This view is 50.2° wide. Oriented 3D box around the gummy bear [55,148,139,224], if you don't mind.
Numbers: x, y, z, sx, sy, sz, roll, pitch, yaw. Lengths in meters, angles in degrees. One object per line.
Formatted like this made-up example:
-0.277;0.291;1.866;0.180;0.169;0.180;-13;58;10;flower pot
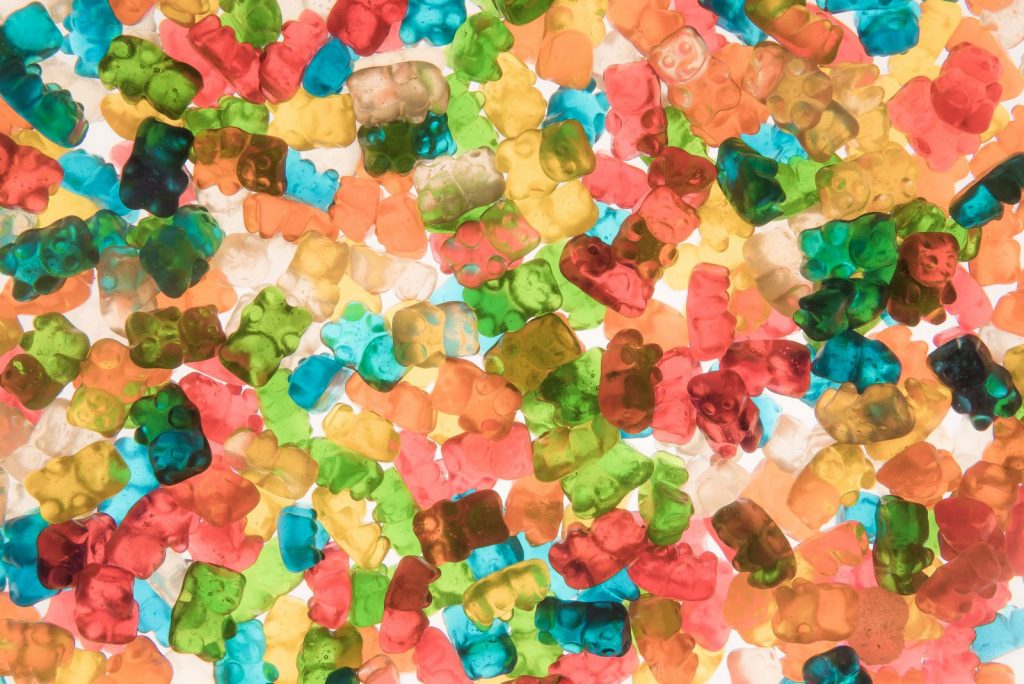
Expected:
-1.087;-0.409;2.859;0.191;0.070;0.130;27;70;-21;gummy bear

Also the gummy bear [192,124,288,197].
-0.691;-0.445;2.706;0.194;0.176;0.141;-2;75;7;gummy bear

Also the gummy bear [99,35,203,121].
-0.916;-0.670;2.777;0.234;0.118;0.154;29;87;2;gummy bear

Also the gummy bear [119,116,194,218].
-0.896;-0.437;2.746;0.172;0.060;0.247;12;98;-12;gummy bear
